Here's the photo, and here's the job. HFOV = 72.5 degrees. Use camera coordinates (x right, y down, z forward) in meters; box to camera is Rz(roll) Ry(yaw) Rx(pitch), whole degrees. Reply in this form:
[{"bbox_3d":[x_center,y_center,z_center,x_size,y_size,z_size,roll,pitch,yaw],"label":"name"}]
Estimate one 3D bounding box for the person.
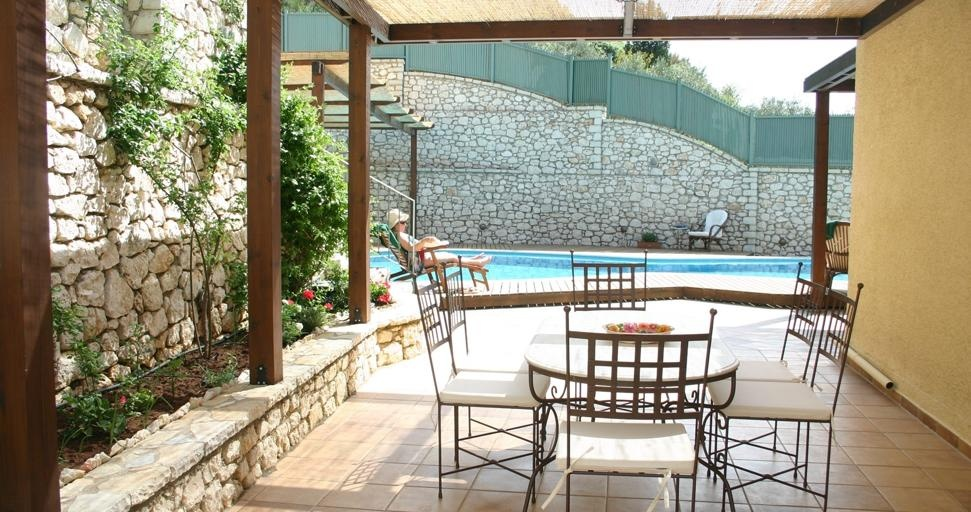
[{"bbox_3d":[-0.920,-0.154,11.914,1.979,1.182,0.884,-2,10,-15],"label":"person"}]
